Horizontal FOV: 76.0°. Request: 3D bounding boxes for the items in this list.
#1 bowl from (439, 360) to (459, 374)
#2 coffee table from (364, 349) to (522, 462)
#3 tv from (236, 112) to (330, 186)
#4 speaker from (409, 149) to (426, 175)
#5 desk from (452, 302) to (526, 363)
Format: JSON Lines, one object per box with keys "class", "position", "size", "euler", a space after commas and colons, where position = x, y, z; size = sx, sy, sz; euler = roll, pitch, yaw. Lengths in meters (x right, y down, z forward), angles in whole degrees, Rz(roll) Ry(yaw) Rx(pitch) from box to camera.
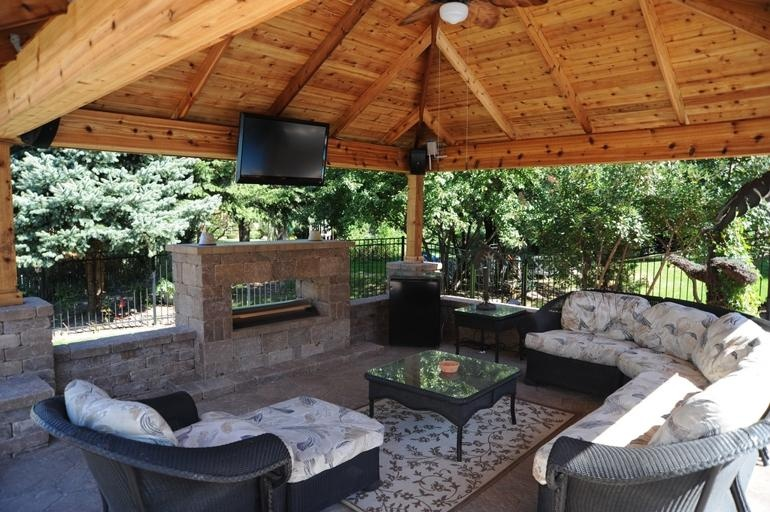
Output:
{"class": "bowl", "position": [0.690, 1.175, 5.183], "size": [0.145, 0.046, 0.133], "euler": [-4, 6, 0]}
{"class": "coffee table", "position": [0.679, 1.458, 5.377], "size": [1.519, 0.833, 2.098], "euler": [2, 2, 41]}
{"class": "tv", "position": [-1.400, -1.433, 6.592], "size": [1.237, 0.755, 0.163], "euler": [-3, 18, -39]}
{"class": "speaker", "position": [0.578, -1.592, 8.260], "size": [0.335, 0.466, 0.311], "euler": [-1, 4, 3]}
{"class": "desk", "position": [1.529, 1.156, 7.161], "size": [0.785, 0.671, 0.800], "euler": [-3, 4, -42]}
